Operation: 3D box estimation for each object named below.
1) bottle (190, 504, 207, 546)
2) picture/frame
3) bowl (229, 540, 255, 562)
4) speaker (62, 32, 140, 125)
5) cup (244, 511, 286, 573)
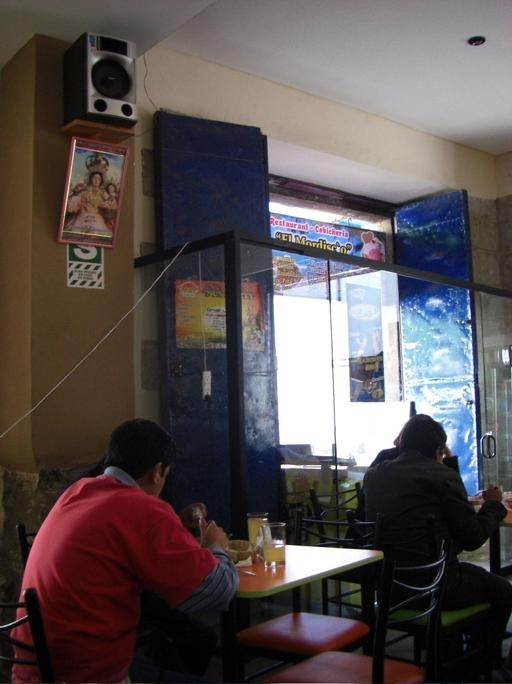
[{"bbox_3d":[-0.184,0.591,2.108,0.044,0.127,0.093,6,-17,-13],"label":"bottle"},{"bbox_3d":[-0.779,-0.694,3.103,0.296,0.461,0.235,2,-7,-27],"label":"picture/frame"},{"bbox_3d":[-0.054,0.645,2.020,0.055,0.021,0.052,1,7,0],"label":"bowl"},{"bbox_3d":[-0.718,-1.190,3.057,0.275,0.383,0.309,2,-7,-34],"label":"speaker"},{"bbox_3d":[0.028,0.619,2.016,0.097,0.146,0.152,5,-12,-30],"label":"cup"}]
